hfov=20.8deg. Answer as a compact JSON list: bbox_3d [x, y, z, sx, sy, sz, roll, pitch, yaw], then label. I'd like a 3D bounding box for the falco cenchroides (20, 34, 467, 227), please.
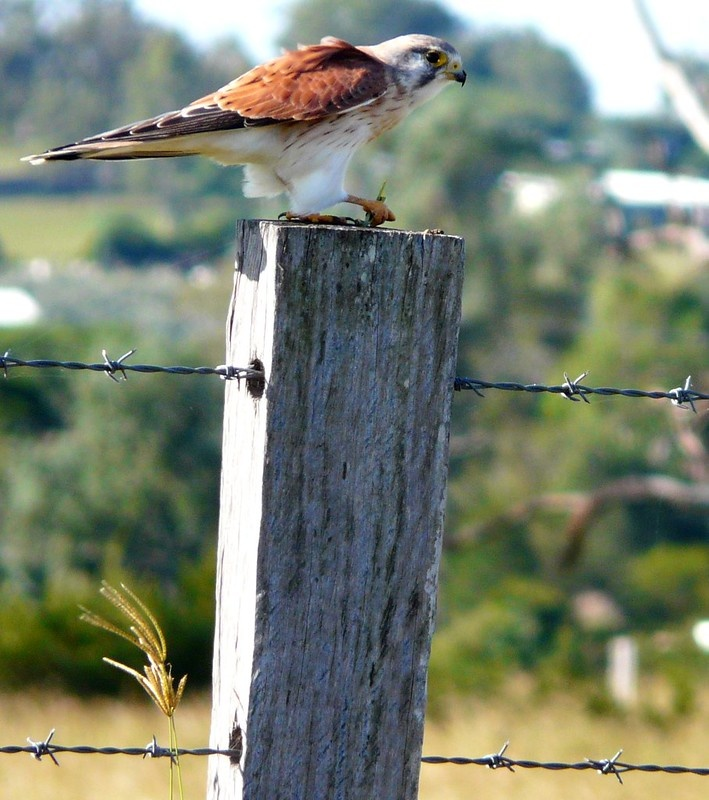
[{"bbox_3d":[-0.558,-1.544,11.128,2.377,0.774,1.254,2,79,-6],"label":"falco cenchroides"}]
